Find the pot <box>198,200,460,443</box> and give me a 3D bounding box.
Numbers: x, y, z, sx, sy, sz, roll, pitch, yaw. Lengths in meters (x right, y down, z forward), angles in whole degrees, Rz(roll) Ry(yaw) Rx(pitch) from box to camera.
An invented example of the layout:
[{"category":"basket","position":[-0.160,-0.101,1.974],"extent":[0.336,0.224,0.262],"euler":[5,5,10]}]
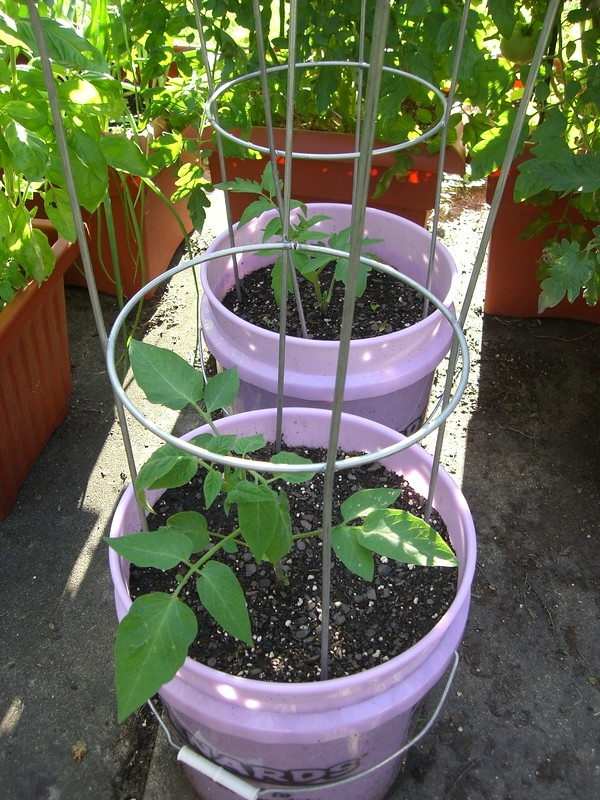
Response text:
[{"category":"pot","position":[0.061,-0.093,1.584],"extent":[0.615,0.434,0.585],"euler":[0,36,0]}]
